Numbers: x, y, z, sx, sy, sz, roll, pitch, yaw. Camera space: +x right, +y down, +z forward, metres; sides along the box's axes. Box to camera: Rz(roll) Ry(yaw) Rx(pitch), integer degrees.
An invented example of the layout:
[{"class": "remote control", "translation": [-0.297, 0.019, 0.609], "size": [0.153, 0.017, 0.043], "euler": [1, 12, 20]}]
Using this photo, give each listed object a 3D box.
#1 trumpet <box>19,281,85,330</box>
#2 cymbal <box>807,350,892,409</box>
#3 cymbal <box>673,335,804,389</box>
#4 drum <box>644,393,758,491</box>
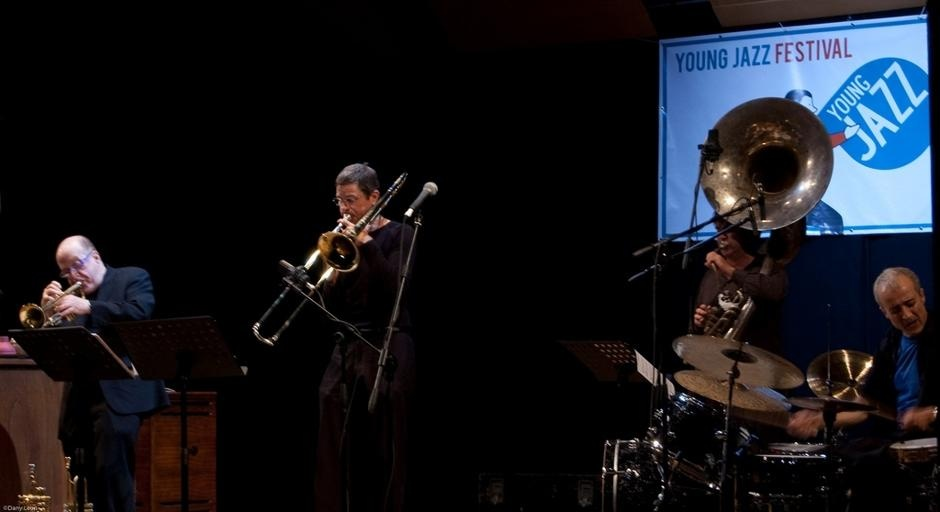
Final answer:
[{"class": "trumpet", "translation": [-3.590, 0.470, 6.876], "size": [0.250, 0.314, 0.601], "euler": [-44, -9, 37]}, {"class": "cymbal", "translation": [3.157, 0.935, 6.512], "size": [0.319, 0.486, 0.876], "euler": [-2, 2, -40]}, {"class": "cymbal", "translation": [2.019, 0.801, 6.012], "size": [0.912, 0.414, 0.471], "euler": [-3, -8, 11]}, {"class": "drum", "translation": [2.053, 1.419, 6.544], "size": [0.663, 0.808, 1.390], "euler": [2, 0, 4]}]
